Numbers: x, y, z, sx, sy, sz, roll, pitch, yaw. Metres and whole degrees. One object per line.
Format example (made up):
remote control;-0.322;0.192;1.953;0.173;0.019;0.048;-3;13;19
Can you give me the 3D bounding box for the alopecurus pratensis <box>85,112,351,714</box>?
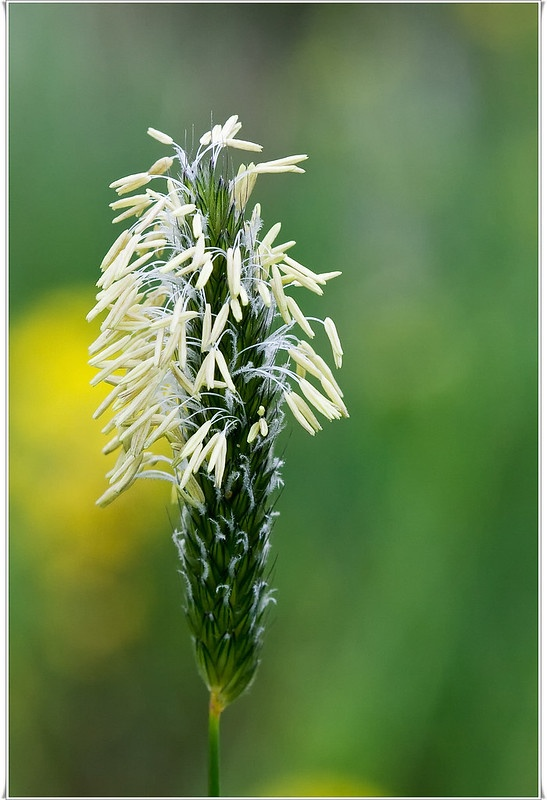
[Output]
alopecurus pratensis;-0.118;0.026;2.071;0.605;1.372;0.466;0;-1;-10
